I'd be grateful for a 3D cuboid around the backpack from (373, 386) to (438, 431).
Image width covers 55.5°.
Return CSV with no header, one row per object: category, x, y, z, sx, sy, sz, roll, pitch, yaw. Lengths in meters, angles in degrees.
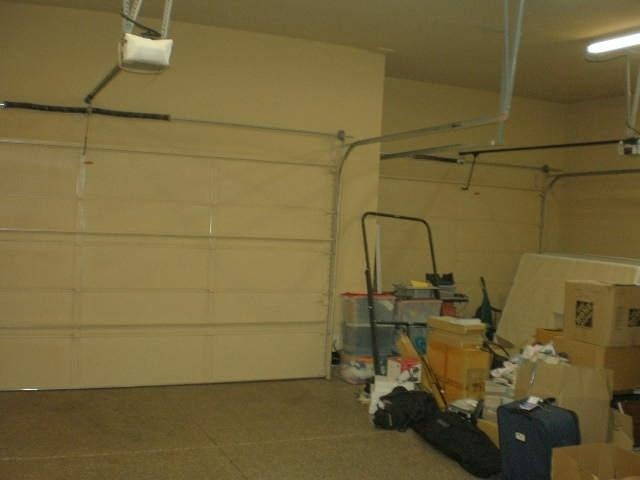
backpack,0.820,1.602,5.782,0.449,0.202,0.379,-10,8,-31
